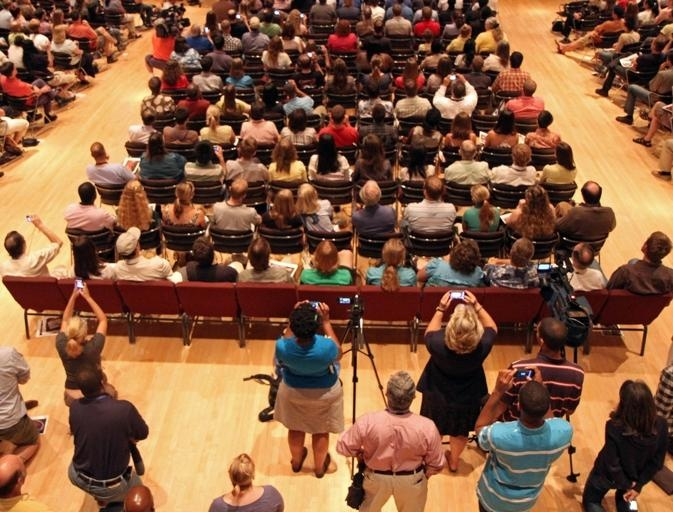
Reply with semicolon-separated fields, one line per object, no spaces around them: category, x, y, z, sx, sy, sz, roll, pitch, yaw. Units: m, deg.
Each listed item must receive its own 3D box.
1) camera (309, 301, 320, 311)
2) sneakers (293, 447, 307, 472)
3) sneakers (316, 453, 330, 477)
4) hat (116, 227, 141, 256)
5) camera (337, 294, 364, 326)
camera;-0.191;0.449;5.407;0.069;0.019;0.078;5;71;-8
sneakers;-0.366;2.112;6.092;0.081;0.112;0.282;4;45;4
sneakers;-0.122;2.148;6.073;0.107;0.097;0.249;2;57;2
hat;-2.376;-0.167;6.897;0.241;0.285;0.327;-9;29;-11
camera;0.142;0.531;5.839;0.280;0.325;0.300;0;0;2
